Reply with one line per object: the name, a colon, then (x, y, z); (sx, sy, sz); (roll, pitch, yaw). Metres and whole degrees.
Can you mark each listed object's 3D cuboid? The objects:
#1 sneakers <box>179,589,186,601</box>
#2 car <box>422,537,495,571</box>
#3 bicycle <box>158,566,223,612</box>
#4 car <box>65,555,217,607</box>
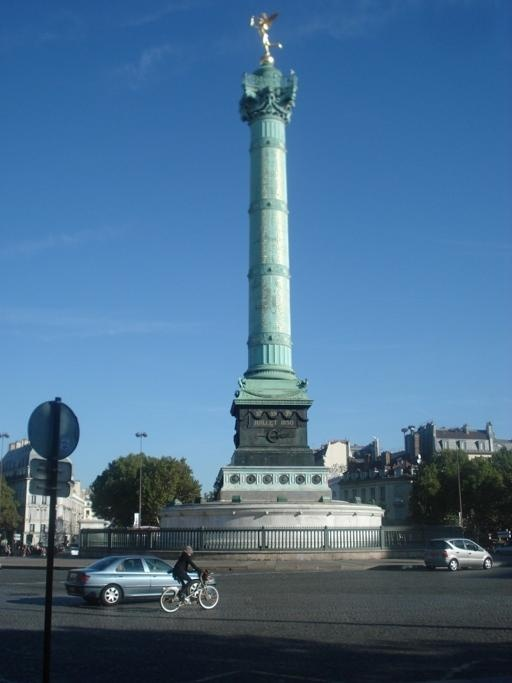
sneakers: (-1.468, 4.979, 18.019); (0.164, 0.272, 0.152); (1, 2, -5)
car: (7.341, 7.712, 32.889); (2.277, 0.960, 1.255); (1, -7, -23)
bicycle: (-1.322, 4.968, 18.284); (1.310, 0.767, 0.609); (6, -11, -32)
car: (-2.500, 4.984, 19.513); (3.016, 0.923, 1.258); (3, -9, -29)
